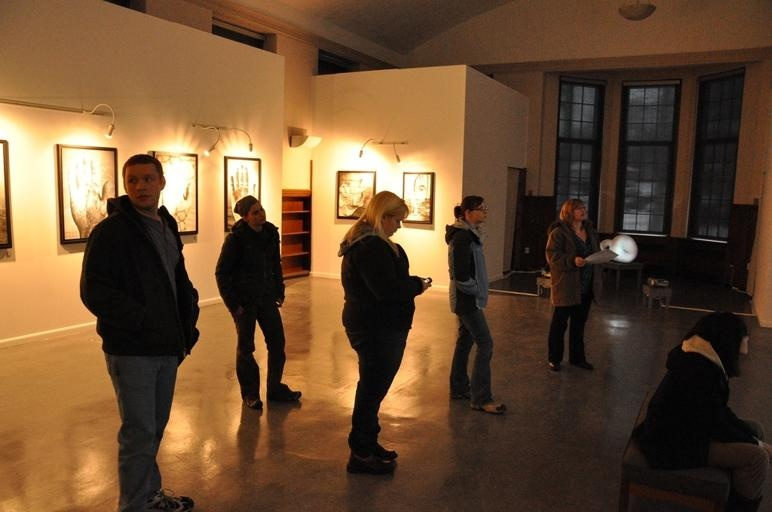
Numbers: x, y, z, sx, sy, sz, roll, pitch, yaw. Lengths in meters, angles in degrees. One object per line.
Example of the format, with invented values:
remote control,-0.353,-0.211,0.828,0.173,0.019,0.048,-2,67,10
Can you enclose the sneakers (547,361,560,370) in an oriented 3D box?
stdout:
sneakers,2.160,1.415,7.156,0.080,0.089,0.133,-1,-5,2

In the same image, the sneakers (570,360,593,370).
sneakers,2.534,1.408,7.269,0.295,0.123,0.111,2,8,33

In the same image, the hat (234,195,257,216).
hat,-1.459,-0.518,5.787,0.191,0.183,0.246,2,-18,-45

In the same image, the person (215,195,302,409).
person,-1.367,0.482,5.887,0.808,2.216,0.459,-4,9,-26

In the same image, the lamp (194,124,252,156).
lamp,-2.950,-2.126,10.256,0.202,0.556,1.325,5,10,34

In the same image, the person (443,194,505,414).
person,0.908,0.521,5.832,0.581,2.268,0.547,0,8,0

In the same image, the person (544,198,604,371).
person,2.363,0.379,7.064,0.582,2.164,0.630,6,10,35

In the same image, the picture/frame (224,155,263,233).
picture/frame,-2.707,-1.125,10.580,0.875,1.423,0.040,4,10,28

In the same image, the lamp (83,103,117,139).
lamp,-4.287,-2.045,8.421,0.153,0.530,0.471,4,9,24

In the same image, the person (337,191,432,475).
person,-0.056,0.682,4.750,0.668,2.441,0.378,-1,8,-6
